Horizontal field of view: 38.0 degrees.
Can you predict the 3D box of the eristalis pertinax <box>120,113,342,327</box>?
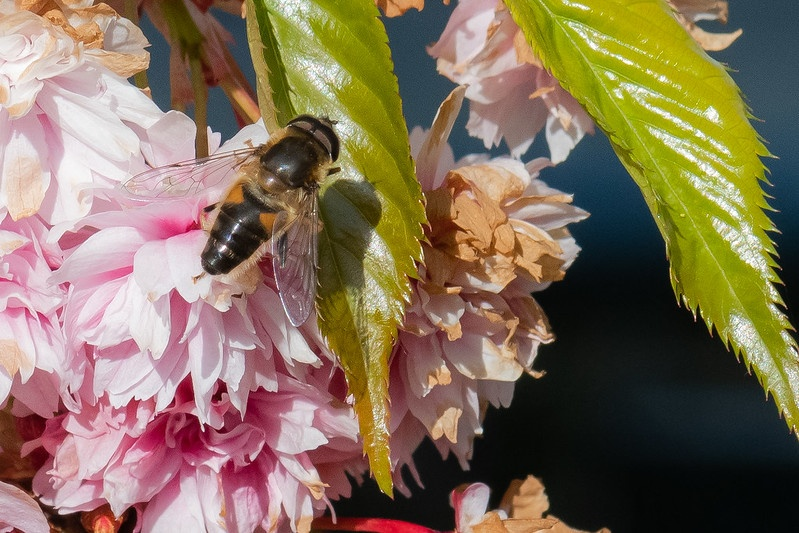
[{"bbox_3d":[-0.110,-0.030,0.804,0.149,0.142,0.072,-5,6,-3],"label":"eristalis pertinax"}]
